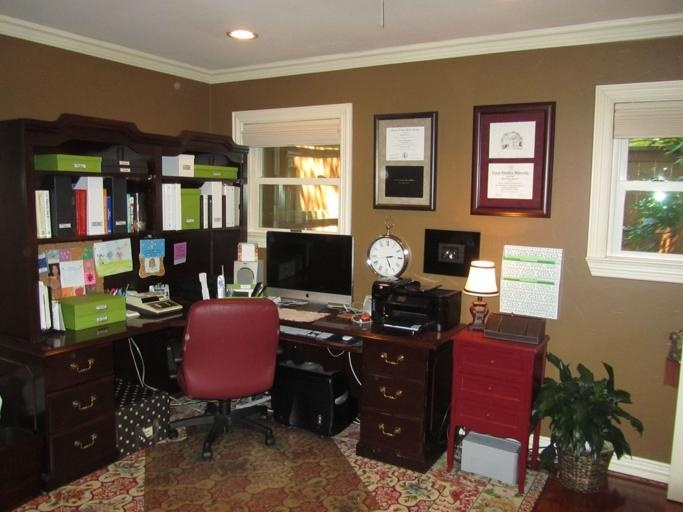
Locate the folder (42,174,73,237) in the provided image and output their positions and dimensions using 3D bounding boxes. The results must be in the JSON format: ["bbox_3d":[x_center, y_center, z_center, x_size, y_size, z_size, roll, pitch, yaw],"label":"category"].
[{"bbox_3d":[-1.947,-0.413,3.697,0.158,0.419,0.454,-2,20,-30],"label":"folder"}]

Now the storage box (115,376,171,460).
[{"bbox_3d":[-1.435,1.167,3.789,0.405,0.268,0.392,4,5,31],"label":"storage box"}]

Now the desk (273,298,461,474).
[{"bbox_3d":[0.048,0.997,4.071,1.399,0.891,0.808,2,0,28],"label":"desk"}]

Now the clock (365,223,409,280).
[{"bbox_3d":[0.383,-0.025,4.179,0.355,0.441,0.157,4,2,33],"label":"clock"}]

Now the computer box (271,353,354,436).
[{"bbox_3d":[-0.193,0.936,4.177,0.694,0.518,0.490,6,10,32],"label":"computer box"}]

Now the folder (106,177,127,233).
[{"bbox_3d":[-1.655,-0.377,3.880,0.131,0.360,0.374,-5,8,-35],"label":"folder"}]

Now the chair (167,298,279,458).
[{"bbox_3d":[-0.816,0.807,3.837,0.791,1.010,0.711,-3,8,-38],"label":"chair"}]

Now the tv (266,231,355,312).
[{"bbox_3d":[-0.232,0.133,4.247,0.611,0.445,0.181,3,7,27],"label":"tv"}]

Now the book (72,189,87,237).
[{"bbox_3d":[-1.808,-0.305,3.645,0.113,0.290,0.310,-2,6,-31],"label":"book"}]

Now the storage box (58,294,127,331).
[{"bbox_3d":[-1.771,0.338,3.681,0.231,0.154,0.322,4,8,31],"label":"storage box"}]

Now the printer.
[{"bbox_3d":[0.559,0.354,3.784,0.376,0.181,0.374,0,3,34],"label":"printer"}]

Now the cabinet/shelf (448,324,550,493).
[{"bbox_3d":[1.053,1.020,3.697,0.606,0.933,0.486,5,6,18],"label":"cabinet/shelf"}]

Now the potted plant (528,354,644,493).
[{"bbox_3d":[1.544,1.095,3.703,0.772,0.959,0.838,-1,2,-4],"label":"potted plant"}]

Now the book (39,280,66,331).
[{"bbox_3d":[-1.943,0.347,3.546,0.171,0.297,0.307,-6,9,-25],"label":"book"}]

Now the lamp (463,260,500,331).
[{"bbox_3d":[0.996,0.299,3.796,0.251,0.480,0.243,4,3,24],"label":"lamp"}]
